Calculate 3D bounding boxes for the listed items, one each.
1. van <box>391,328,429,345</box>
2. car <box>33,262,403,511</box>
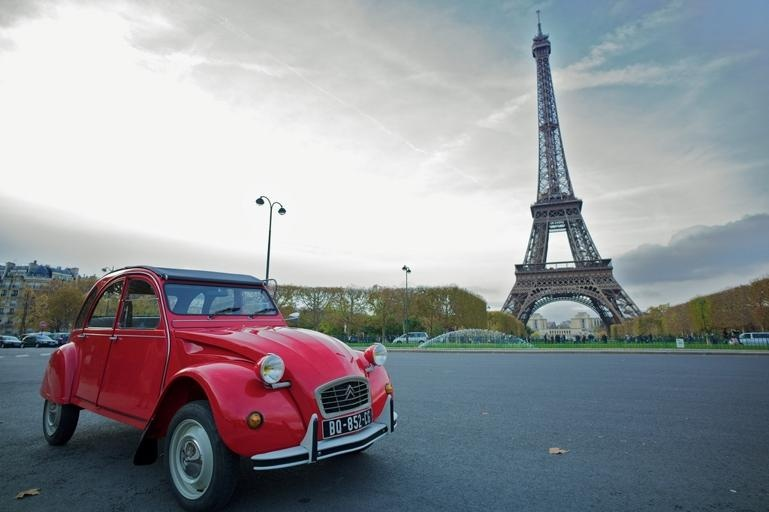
[{"bbox_3d":[2.760,8.642,50.686,3.036,1.207,1.590,4,-14,6],"label":"van"},{"bbox_3d":[-2.516,1.720,6.851,4.751,2.193,2.664,-11,-16,34],"label":"car"}]
